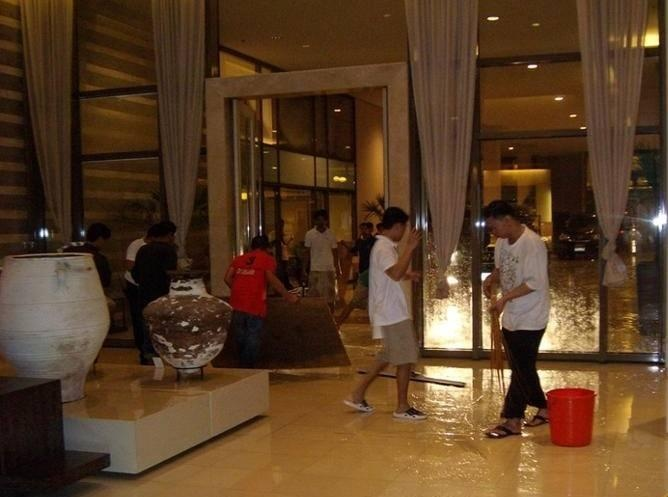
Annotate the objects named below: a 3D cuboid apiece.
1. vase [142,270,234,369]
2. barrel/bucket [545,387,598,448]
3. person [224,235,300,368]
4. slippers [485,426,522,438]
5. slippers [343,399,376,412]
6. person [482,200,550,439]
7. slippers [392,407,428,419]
[{"bbox_3d":[-1.199,0.730,4.579,0.693,0.667,0.313,-2,2,-19],"label":"vase"},{"bbox_3d":[1.778,1.212,4.201,0.391,0.352,0.437,-2,1,42],"label":"barrel/bucket"},{"bbox_3d":[-0.810,0.585,5.881,0.713,1.441,0.284,-1,2,19],"label":"person"},{"bbox_3d":[1.313,1.414,4.299,0.262,0.069,0.101,3,0,-12],"label":"slippers"},{"bbox_3d":[0.232,1.433,5.047,0.255,0.098,0.108,9,8,1],"label":"slippers"},{"bbox_3d":[1.451,0.538,4.425,0.497,1.854,0.499,-1,2,15],"label":"person"},{"bbox_3d":[0.657,1.423,4.817,0.252,0.098,0.101,-1,2,7],"label":"slippers"}]
